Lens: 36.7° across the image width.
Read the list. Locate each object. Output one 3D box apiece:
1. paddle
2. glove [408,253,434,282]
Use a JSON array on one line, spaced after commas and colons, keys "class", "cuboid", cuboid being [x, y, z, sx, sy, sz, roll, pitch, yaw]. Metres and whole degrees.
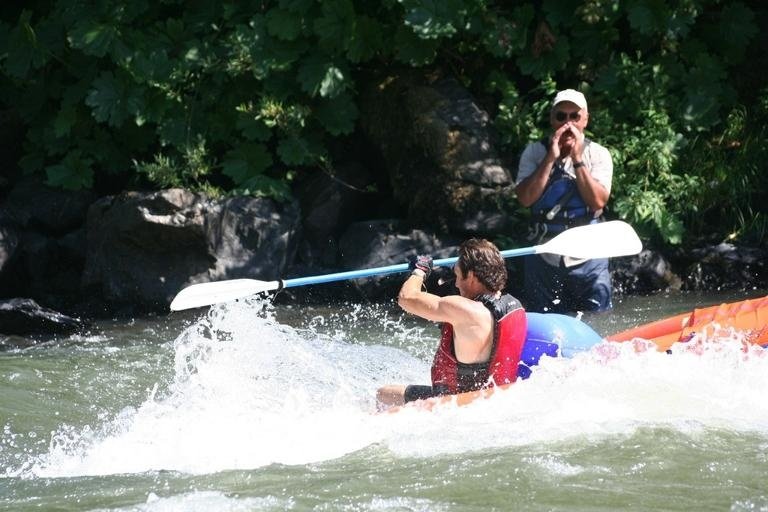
[{"class": "paddle", "cuboid": [0.295, 0.143, 14.221, 3.776, 0.124, 0.501, -12, 41, -2]}, {"class": "glove", "cuboid": [0.384, 0.129, 12.054, 0.181, 0.115, 0.253, 4, 32, 7]}]
